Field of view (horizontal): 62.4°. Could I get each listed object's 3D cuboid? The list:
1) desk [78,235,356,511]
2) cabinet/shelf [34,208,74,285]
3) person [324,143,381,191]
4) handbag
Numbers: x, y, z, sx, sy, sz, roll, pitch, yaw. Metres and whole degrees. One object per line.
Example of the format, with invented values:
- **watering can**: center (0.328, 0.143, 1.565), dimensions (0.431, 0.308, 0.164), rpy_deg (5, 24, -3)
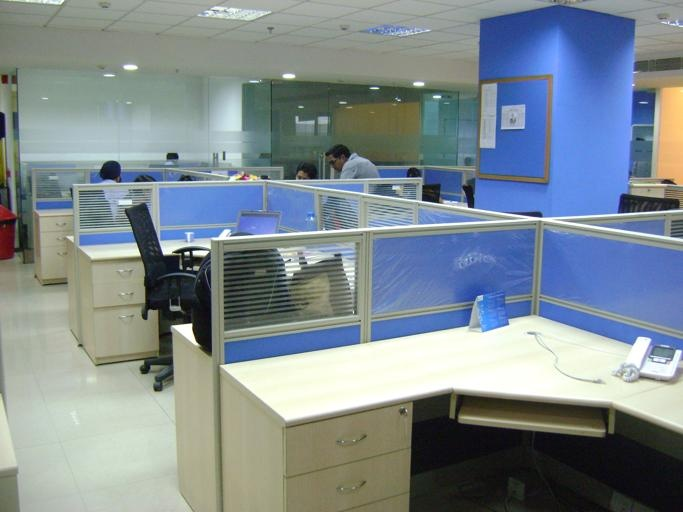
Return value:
- **desk**: center (-0.575, 0.583, 3.187), dimensions (1.289, 1.312, 0.794), rpy_deg (-1, 1, -12)
- **cabinet/shelf**: center (-3.616, -0.098, 7.202), dimensions (0.445, 0.907, 0.212), rpy_deg (-5, 14, -23)
- **person**: center (0.143, -1.050, 6.364), dimensions (0.530, 0.363, 1.158), rpy_deg (-1, 13, -5)
- **handbag**: center (-0.089, 0.178, 2.740), dimensions (0.294, 0.302, 0.076), rpy_deg (-13, 13, -25)
